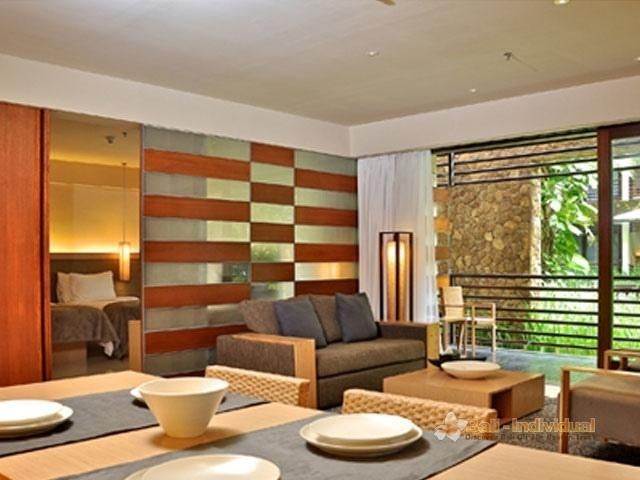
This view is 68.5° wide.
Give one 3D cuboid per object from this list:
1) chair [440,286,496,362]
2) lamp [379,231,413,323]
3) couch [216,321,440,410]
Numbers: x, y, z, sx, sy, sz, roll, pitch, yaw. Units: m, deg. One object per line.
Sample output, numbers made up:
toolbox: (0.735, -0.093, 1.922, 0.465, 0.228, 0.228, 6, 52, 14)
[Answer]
chair: (2.078, 1.134, 6.618, 0.642, 0.857, 0.634, 4, -5, -32)
lamp: (1.037, 0.495, 6.548, 0.513, 1.233, 0.496, -2, -11, 28)
couch: (0.276, 1.281, 4.932, 1.836, 0.685, 0.934, -1, -3, -29)
